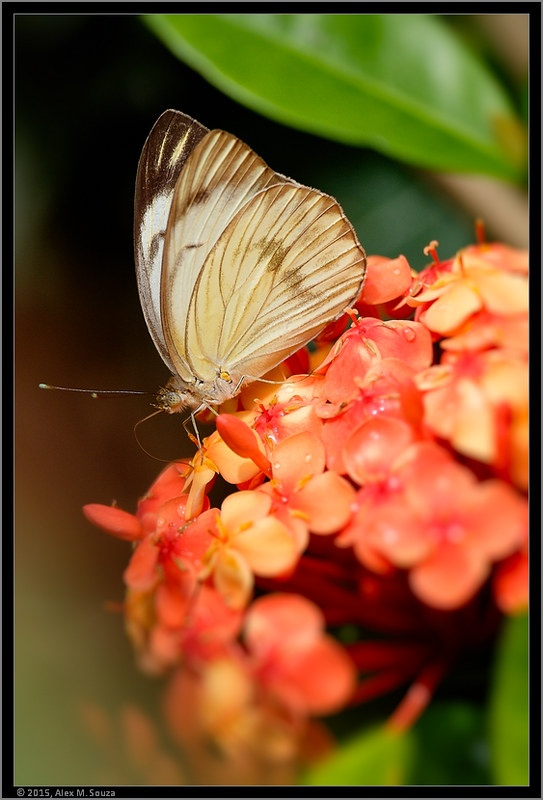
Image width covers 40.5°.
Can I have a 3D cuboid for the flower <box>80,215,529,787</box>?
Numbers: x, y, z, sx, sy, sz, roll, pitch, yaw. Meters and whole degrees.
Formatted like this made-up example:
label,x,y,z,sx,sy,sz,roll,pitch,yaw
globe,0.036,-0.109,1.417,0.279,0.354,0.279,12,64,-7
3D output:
label,x,y,z,sx,sy,sz,roll,pitch,yaw
flower,0.112,0.100,1.028,0.303,0.619,0.638,32,22,-28
